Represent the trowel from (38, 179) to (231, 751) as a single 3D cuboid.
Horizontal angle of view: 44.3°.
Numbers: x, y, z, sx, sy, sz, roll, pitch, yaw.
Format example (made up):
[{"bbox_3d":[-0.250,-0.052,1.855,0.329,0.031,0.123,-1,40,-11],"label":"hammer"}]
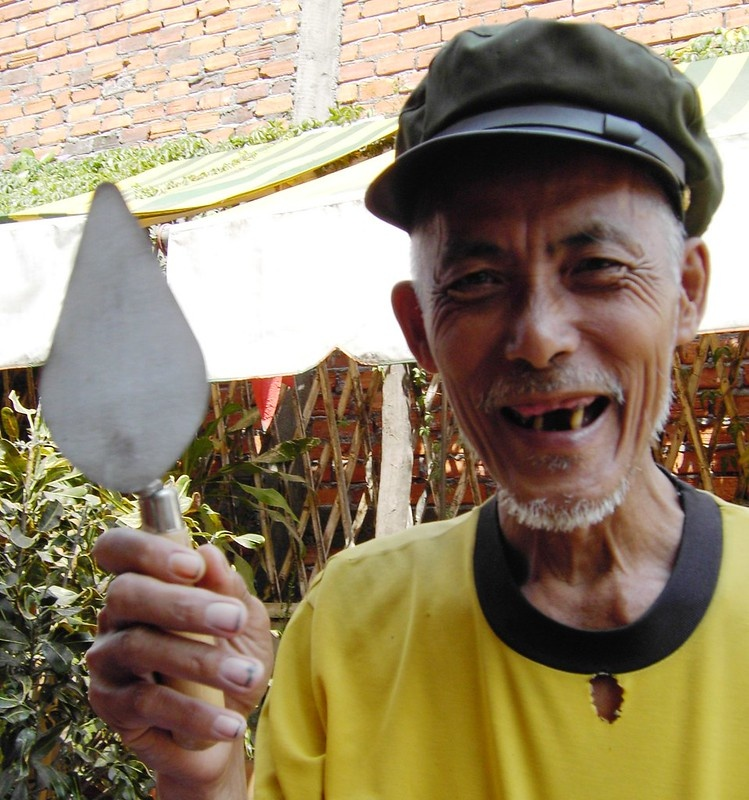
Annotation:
[{"bbox_3d":[-0.334,-0.045,1.210,0.209,0.475,0.096,-1,-5,-16],"label":"trowel"}]
